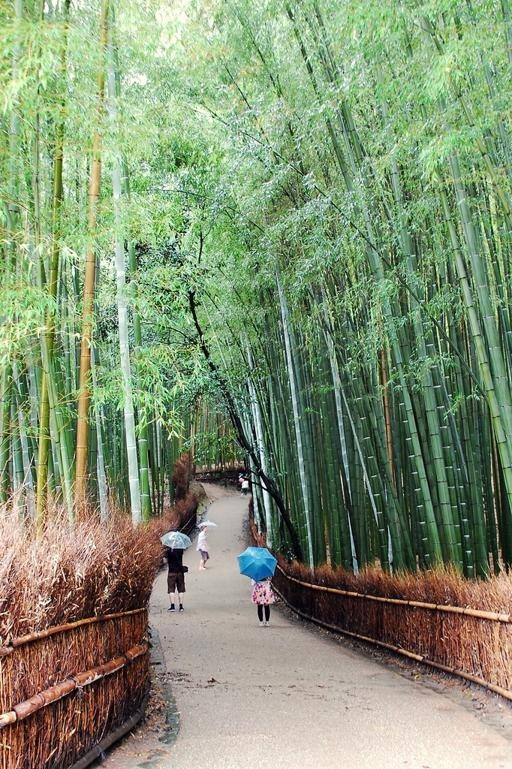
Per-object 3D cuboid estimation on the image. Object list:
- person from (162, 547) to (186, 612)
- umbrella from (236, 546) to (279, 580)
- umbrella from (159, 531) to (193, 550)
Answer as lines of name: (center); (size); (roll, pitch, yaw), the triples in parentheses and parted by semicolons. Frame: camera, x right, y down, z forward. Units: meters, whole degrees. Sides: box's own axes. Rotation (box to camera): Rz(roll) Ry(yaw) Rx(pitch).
person: (-0.992, 2.354, 7.430); (0.239, 0.782, 1.114); (-4, -7, -9)
umbrella: (-0.002, 1.783, 5.890); (0.345, 0.332, 0.491); (-6, -7, -2)
umbrella: (-0.909, 1.783, 6.788); (0.285, 0.225, 0.549); (-5, -8, -11)
